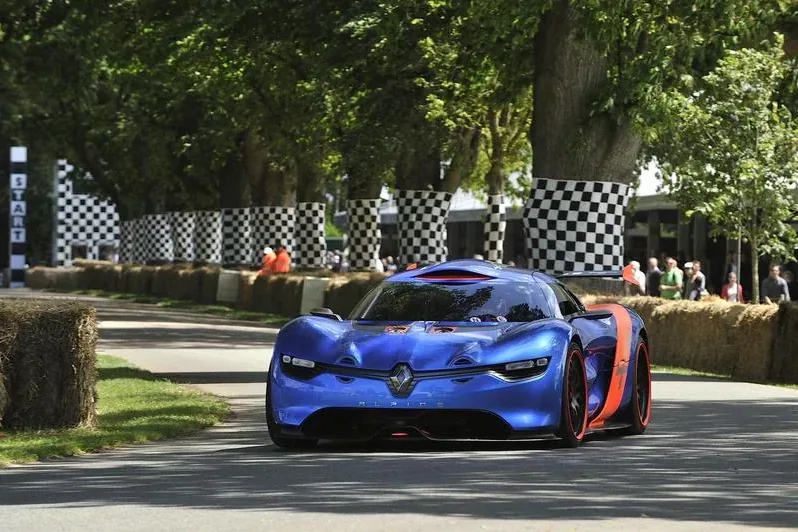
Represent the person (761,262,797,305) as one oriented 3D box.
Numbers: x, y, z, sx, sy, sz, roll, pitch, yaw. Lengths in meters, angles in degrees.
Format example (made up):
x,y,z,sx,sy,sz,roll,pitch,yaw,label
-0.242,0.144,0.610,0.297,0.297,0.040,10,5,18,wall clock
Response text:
x,y,z,sx,sy,sz,roll,pitch,yaw,label
7.759,0.338,27.998,0.485,0.733,2.382,-2,6,13,person
